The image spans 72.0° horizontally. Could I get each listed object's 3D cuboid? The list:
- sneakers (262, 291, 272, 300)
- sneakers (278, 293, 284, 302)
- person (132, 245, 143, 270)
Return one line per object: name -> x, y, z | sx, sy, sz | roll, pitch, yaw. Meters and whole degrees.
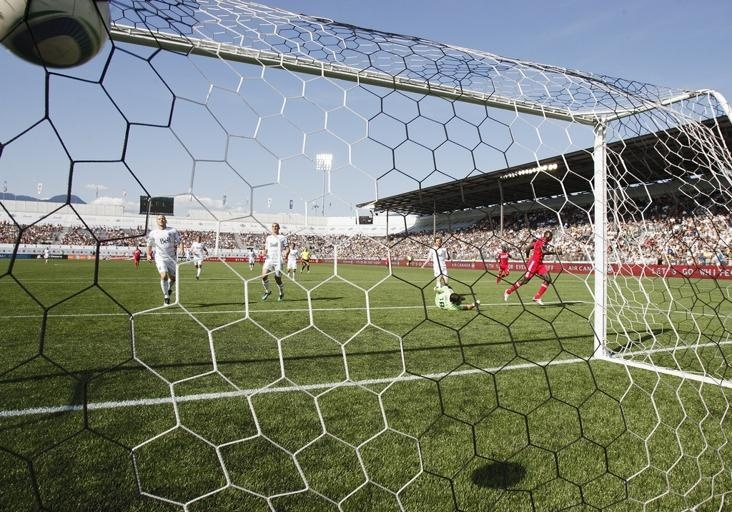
sneakers -> -1.880, 0.738, 9.465 | 0.157, 0.154, 0.407 | -3, -17, -4
sneakers -> -1.555, 0.744, 9.305 | 0.111, 0.108, 0.287 | 0, -14, -11
person -> -7.108, 0.048, 15.743 | 0.513, 0.724, 0.223 | -2, 9, -12
